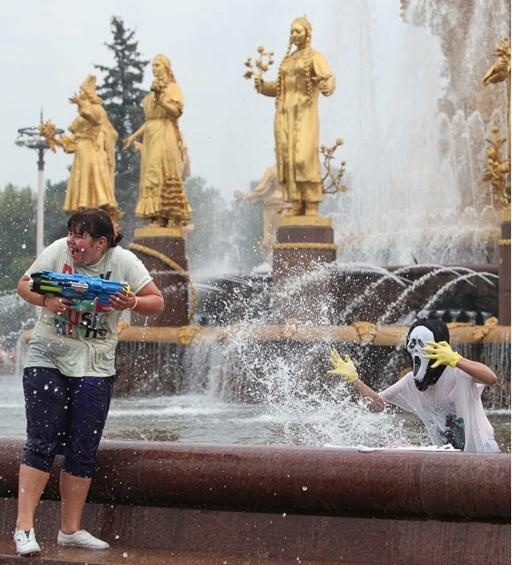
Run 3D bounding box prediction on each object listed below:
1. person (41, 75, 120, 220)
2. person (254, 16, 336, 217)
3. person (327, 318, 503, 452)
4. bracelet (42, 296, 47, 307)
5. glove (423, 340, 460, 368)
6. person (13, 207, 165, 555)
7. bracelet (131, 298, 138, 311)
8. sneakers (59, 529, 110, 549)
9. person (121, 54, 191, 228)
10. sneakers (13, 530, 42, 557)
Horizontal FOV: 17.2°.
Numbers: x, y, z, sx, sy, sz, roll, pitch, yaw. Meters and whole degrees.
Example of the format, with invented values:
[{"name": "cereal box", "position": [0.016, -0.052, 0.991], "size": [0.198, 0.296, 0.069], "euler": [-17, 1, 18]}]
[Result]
[{"name": "person", "position": [-1.819, -1.452, 17.964], "size": [0.724, 1.542, 0.764], "euler": [-2, 1, -6]}, {"name": "person", "position": [0.432, -1.663, 16.772], "size": [0.484, 1.981, 1.070], "euler": [-2, 1, -33]}, {"name": "person", "position": [1.088, 0.617, 10.365], "size": [0.431, 0.791, 1.119], "euler": [-3, 1, -41]}, {"name": "bracelet", "position": [-1.226, 0.101, 9.845], "size": [0.020, 0.058, 0.042], "euler": [-2, 1, -34]}, {"name": "glove", "position": [1.120, 0.425, 10.253], "size": [0.230, 0.160, 0.214], "euler": [-2, 1, 4]}, {"name": "person", "position": [-1.005, 0.553, 9.879], "size": [0.814, 1.972, 0.364], "euler": [-2, 1, -5]}, {"name": "bracelet", "position": [-0.703, 0.117, 9.880], "size": [0.038, 0.057, 0.055], "euler": [22, 19, -16]}, {"name": "sneakers", "position": [-1.001, 1.482, 9.899], "size": [0.282, 0.123, 0.113], "euler": [2, -1, -1]}, {"name": "person", "position": [-1.003, -1.482, 17.838], "size": [0.551, 1.786, 0.651], "euler": [-2, 1, -9]}, {"name": "sneakers", "position": [-1.312, 1.476, 9.758], "size": [0.149, 0.152, 0.150], "euler": [-2, 1, -7]}]
